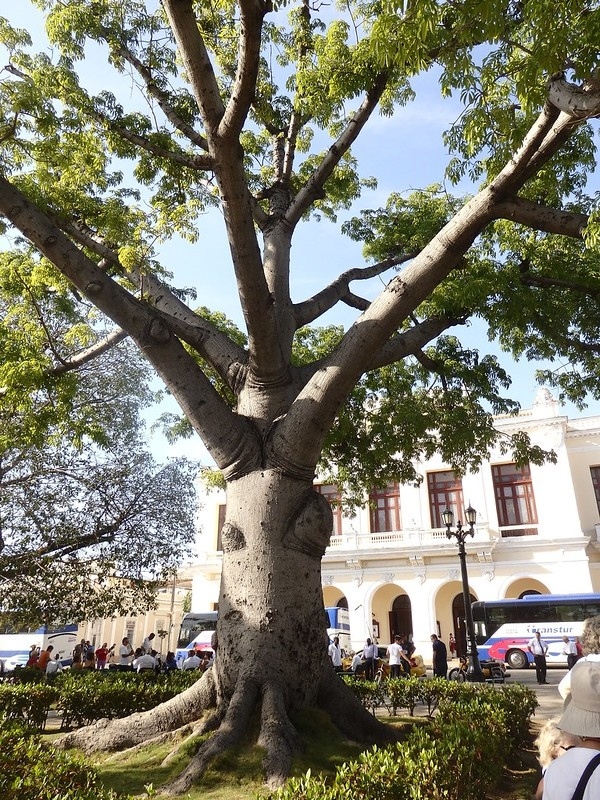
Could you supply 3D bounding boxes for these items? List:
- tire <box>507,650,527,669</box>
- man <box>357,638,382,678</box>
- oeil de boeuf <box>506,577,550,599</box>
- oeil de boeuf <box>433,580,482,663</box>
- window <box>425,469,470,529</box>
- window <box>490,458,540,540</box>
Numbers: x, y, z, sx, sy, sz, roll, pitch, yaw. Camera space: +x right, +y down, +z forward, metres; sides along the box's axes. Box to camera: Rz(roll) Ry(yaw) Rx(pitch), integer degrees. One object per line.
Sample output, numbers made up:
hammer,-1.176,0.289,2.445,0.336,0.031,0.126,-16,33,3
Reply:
tire,9.569,11.400,22.521,0.867,0.970,0.364,-1,-6,40
man,2.094,7.895,15.739,0.618,1.090,2.775,-4,-20,7
oeil de boeuf,12.514,10.390,28.268,1.554,0.398,1.647,-17,-31,22
oeil de boeuf,8.226,13.016,29.951,5.244,2.918,1.648,26,-33,-27
window,8.453,6.045,30.059,2.108,3.824,0.416,-7,-42,16
window,12.208,5.427,29.146,2.067,0.349,4.328,-8,-67,21
